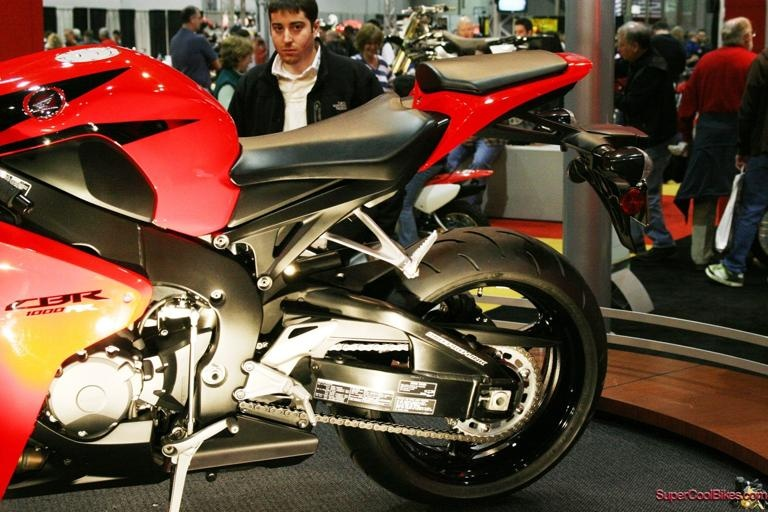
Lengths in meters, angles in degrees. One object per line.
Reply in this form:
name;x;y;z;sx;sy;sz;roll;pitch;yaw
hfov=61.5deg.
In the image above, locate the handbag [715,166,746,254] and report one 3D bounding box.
handbag;2.910;-0.354;5.455;0.131;0.627;0.548;8;16;29
